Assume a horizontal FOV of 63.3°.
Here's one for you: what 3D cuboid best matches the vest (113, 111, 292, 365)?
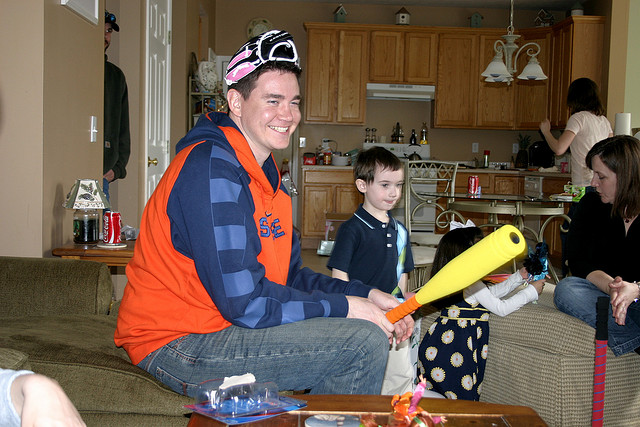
[{"bbox_3d":[-0.510,0.146,2.421,0.740,1.286,0.912,5,1,-5],"label":"vest"}]

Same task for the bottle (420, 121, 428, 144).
[{"bbox_3d":[1.440,-1.121,7.237,0.108,0.220,0.121,1,0,7],"label":"bottle"}]

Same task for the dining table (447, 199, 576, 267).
[{"bbox_3d":[1.617,0.189,4.442,0.794,0.554,0.815,-3,-6,24],"label":"dining table"}]

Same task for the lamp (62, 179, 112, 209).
[{"bbox_3d":[-1.278,-0.097,2.851,0.175,0.099,0.185,1,1,-7],"label":"lamp"}]

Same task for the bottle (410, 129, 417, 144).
[{"bbox_3d":[1.292,-1.070,7.215,0.095,0.153,0.114,1,0,8],"label":"bottle"}]

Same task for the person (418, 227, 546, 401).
[{"bbox_3d":[0.789,0.616,2.587,0.510,1.059,0.389,1,13,-6],"label":"person"}]

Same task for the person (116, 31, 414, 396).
[{"bbox_3d":[-0.243,-0.023,1.909,0.985,1.189,0.350,1,0,6],"label":"person"}]

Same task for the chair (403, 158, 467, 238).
[{"bbox_3d":[1.196,-0.113,5.762,0.602,1.005,0.599,2,10,-13],"label":"chair"}]

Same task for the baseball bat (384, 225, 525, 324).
[{"bbox_3d":[0.579,0.278,2.268,0.747,0.125,0.123,-38,21,27],"label":"baseball bat"}]

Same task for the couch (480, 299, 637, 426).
[{"bbox_3d":[1.130,0.587,2.405,0.544,0.407,0.546,2,-2,-32],"label":"couch"}]

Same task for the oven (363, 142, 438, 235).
[{"bbox_3d":[1.101,-0.313,6.654,0.858,1.119,0.958,5,6,16],"label":"oven"}]
